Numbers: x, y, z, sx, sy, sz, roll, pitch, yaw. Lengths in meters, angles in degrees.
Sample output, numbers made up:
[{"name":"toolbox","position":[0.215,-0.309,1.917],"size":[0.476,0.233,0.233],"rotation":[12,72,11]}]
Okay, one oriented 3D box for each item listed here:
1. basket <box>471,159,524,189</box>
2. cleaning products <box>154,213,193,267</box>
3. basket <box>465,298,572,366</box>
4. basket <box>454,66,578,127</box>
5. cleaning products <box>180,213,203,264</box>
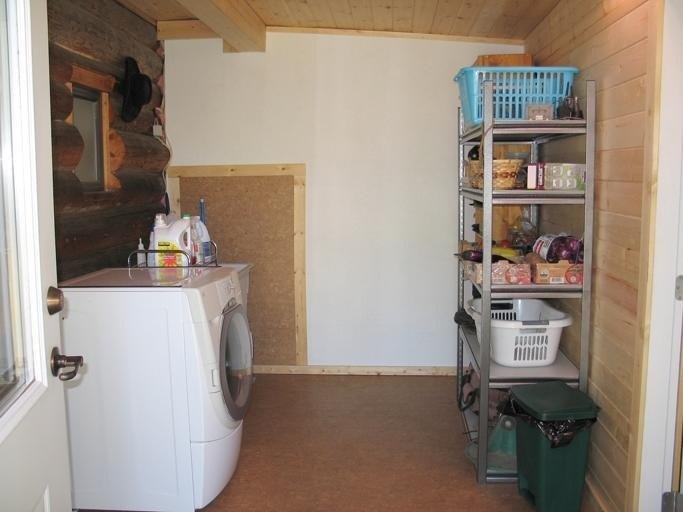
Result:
[{"name":"basket","position":[0.854,-0.449,2.975],"size":[0.261,0.146,0.200],"rotation":[-1,10,-4]},{"name":"cleaning products","position":[-1.078,-0.093,3.458],"size":[0.267,0.307,0.373],"rotation":[-5,13,-19]},{"name":"basket","position":[1.040,0.511,3.315],"size":[0.556,0.281,0.661],"rotation":[2,-4,-10]},{"name":"basket","position":[0.994,-0.903,3.044],"size":[0.540,0.260,0.378],"rotation":[-2,11,0]},{"name":"cleaning products","position":[-1.014,-0.082,3.660],"size":[0.173,0.386,0.091],"rotation":[-20,-19,40]}]
